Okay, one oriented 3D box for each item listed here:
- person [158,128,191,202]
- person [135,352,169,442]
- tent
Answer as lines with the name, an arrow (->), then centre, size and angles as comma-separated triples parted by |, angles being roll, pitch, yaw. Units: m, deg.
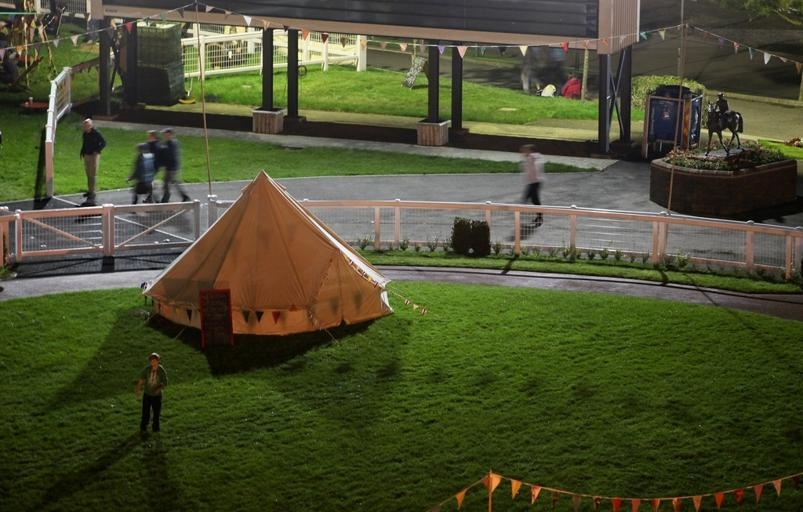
person -> -7.089, -2.705, 27.853 | 1.184, 2.427, 0.834 | -2, 22, -18
person -> -4.956, 2.618, 17.966 | 0.570, 1.590, 0.835 | -3, 9, -18
tent -> -3.599, -0.205, 22.450 | 5.298, 3.185, 5.558 | 3, 5, -21
